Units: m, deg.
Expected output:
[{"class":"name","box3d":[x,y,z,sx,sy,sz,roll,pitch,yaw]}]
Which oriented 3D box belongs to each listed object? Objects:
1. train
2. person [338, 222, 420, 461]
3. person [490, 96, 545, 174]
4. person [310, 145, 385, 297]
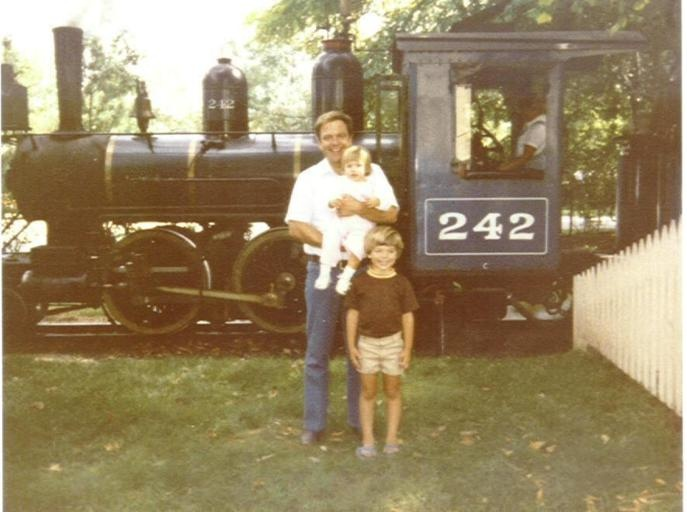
[{"class":"train","box3d":[-0.264,-0.695,8.089,6.990,2.973,3.047,1,0,2]},{"class":"person","box3d":[0.275,0.635,5.133,0.512,1.716,0.304,-1,10,-1]},{"class":"person","box3d":[1.623,-1.172,6.646,0.389,0.670,0.617,11,18,32]},{"class":"person","box3d":[0.052,-0.292,5.196,0.445,1.077,0.361,13,16,31]}]
